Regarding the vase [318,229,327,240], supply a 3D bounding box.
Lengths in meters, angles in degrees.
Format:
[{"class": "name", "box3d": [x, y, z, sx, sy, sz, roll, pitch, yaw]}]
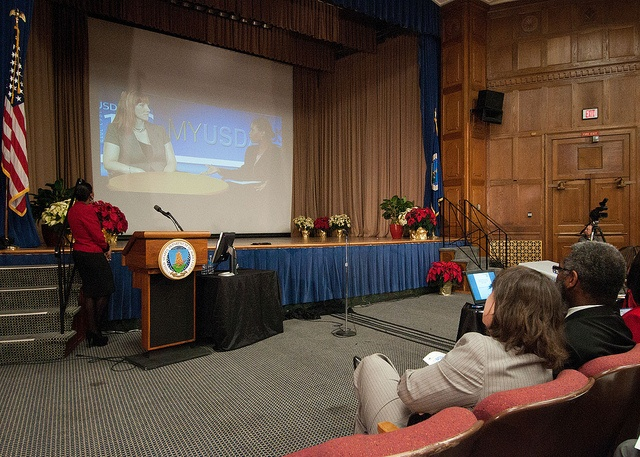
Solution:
[{"class": "vase", "box3d": [0.041, 0.143, 10.152, 0.173, 0.338, 0.188, -5, 9, -17]}]

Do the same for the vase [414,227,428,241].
[{"class": "vase", "box3d": [1.892, 0.106, 8.438, 0.187, 0.256, 0.207, 1, -4, 11]}]

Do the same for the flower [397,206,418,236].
[{"class": "flower", "box3d": [1.687, -0.135, 8.903, 0.409, 0.519, 0.441, -2, -1, 2]}]

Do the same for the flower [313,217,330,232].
[{"class": "flower", "box3d": [0.038, -0.096, 10.188, 0.259, 0.319, 0.275, -1, 2, -27]}]

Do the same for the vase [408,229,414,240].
[{"class": "vase", "box3d": [1.726, 0.119, 8.479, 0.092, 0.167, 0.341, 0, 2, 10]}]

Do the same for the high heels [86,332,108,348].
[{"class": "high heels", "box3d": [-2.572, 1.286, 5.212, 0.226, 0.190, 0.131, 0, 0, -22]}]

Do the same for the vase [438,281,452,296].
[{"class": "vase", "box3d": [2.223, 1.074, 8.010, 0.182, 0.239, 0.213, 1, 0, -1]}]

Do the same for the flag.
[{"class": "flag", "box3d": [-4.040, -1.342, 5.924, 0.265, 2.354, 0.216, -2, 3, -42]}]

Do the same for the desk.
[{"class": "desk", "box3d": [-1.026, 0.938, 5.666, 0.941, 0.811, 0.767, -6, 8, -39]}]

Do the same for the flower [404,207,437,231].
[{"class": "flower", "box3d": [1.883, -0.227, 8.481, 0.416, 0.341, 0.418, -4, 7, -38]}]

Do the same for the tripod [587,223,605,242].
[{"class": "tripod", "box3d": [3.947, 0.061, 6.453, 0.176, 0.308, 0.211, -19, -5, 28]}]

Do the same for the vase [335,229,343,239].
[{"class": "vase", "box3d": [0.415, 0.121, 9.690, 0.149, 0.186, 0.288, -9, -8, -2]}]

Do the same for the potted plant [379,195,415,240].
[{"class": "potted plant", "box3d": [1.510, -0.161, 9.130, 0.714, 0.972, 0.721, -1, -7, 11]}]

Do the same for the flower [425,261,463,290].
[{"class": "flower", "box3d": [2.185, 0.789, 7.997, 0.432, 0.353, 0.442, -3, 6, -38]}]

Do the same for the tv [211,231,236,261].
[{"class": "tv", "box3d": [-1.241, 0.237, 5.790, 0.150, 0.394, 0.405, 33, 6, 10]}]

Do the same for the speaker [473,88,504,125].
[{"class": "speaker", "box3d": [3.479, -2.497, 9.251, 0.680, 0.630, 0.300, -1, 2, -12]}]

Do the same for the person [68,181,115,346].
[{"class": "person", "box3d": [-2.610, 0.404, 5.143, 0.442, 1.926, 0.326, 0, 2, 11]}]

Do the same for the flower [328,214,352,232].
[{"class": "flower", "box3d": [0.415, -0.117, 9.879, 0.323, 0.275, 0.361, 0, -3, -5]}]

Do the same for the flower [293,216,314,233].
[{"class": "flower", "box3d": [-0.354, -0.090, 10.176, 0.350, 0.300, 0.392, 4, -1, 5]}]
